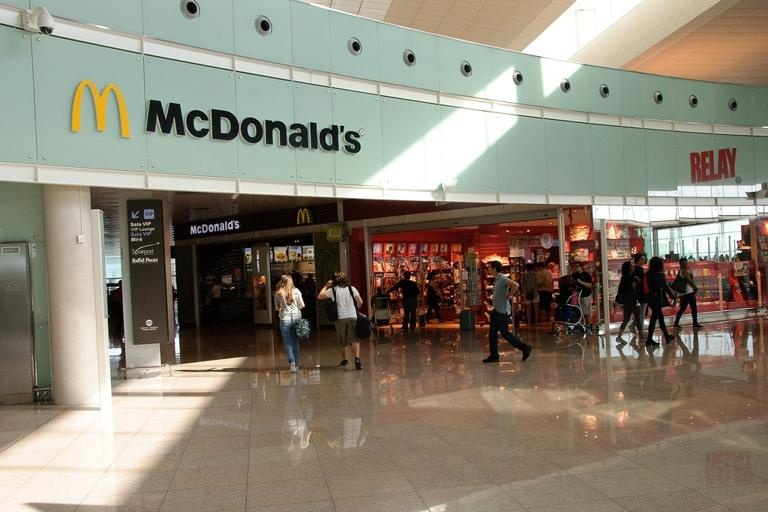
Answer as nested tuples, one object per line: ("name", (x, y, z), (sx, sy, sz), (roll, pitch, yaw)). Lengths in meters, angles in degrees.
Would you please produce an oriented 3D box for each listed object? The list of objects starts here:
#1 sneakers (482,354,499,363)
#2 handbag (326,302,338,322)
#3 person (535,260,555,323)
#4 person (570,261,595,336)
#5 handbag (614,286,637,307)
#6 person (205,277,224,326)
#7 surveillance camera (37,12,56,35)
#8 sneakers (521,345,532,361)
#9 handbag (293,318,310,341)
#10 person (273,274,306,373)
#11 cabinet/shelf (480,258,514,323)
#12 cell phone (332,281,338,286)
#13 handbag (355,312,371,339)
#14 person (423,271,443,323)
("sneakers", (2.231, 2.142, 12.135), (0.370, 0.163, 0.157), (1, -1, 11))
("handbag", (-1.055, 1.134, 11.905), (0.199, 0.431, 0.385), (-3, 3, -4))
("person", (4.776, 1.098, 17.215), (0.444, 1.866, 0.804), (-2, 3, 14))
("person", (5.274, 1.224, 15.301), (0.325, 1.565, 0.425), (-4, 3, -37))
("handbag", (5.913, 1.003, 14.182), (0.439, 0.464, 0.458), (-2, 0, 16))
("person", (-6.780, 1.749, 23.087), (0.587, 1.841, 0.324), (-3, 2, -19))
("surveillance camera", (-5.285, -3.649, 9.058), (0.237, 0.232, 0.323), (-4, 3, -28))
("sneakers", (2.972, 2.000, 12.065), (0.180, 0.414, 0.149), (-5, 40, 4))
("handbag", (-1.686, 1.482, 11.805), (0.297, 0.448, 0.554), (-3, 3, -10))
("person", (-1.961, 1.387, 12.097), (0.539, 2.037, 1.037), (-3, 3, -9))
("cabinet/shelf", (2.502, 0.708, 12.227), (0.543, 1.209, 1.526), (-2, 3, 10))
("cell phone", (-1.011, 0.559, 11.891), (0.083, 0.104, 0.145), (5, -9, -43))
("handbag", (-0.401, 1.440, 11.925), (0.316, 0.505, 0.360), (-2, 3, 15))
("person", (1.617, 1.362, 19.314), (0.505, 1.674, 0.820), (-2, 3, 12))
